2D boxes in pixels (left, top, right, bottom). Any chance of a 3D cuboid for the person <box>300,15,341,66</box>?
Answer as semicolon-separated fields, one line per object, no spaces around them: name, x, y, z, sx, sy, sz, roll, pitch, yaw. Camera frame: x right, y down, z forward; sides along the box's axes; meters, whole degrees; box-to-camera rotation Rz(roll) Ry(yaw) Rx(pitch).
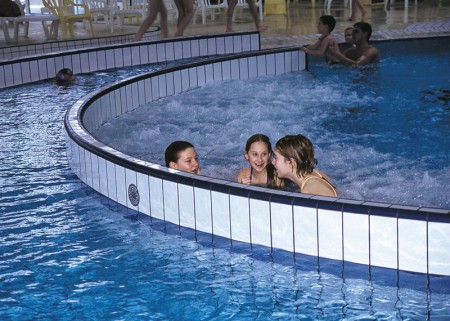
person;1.449;-1.748;6.479;0.491;0.679;0.641;8;21;30
